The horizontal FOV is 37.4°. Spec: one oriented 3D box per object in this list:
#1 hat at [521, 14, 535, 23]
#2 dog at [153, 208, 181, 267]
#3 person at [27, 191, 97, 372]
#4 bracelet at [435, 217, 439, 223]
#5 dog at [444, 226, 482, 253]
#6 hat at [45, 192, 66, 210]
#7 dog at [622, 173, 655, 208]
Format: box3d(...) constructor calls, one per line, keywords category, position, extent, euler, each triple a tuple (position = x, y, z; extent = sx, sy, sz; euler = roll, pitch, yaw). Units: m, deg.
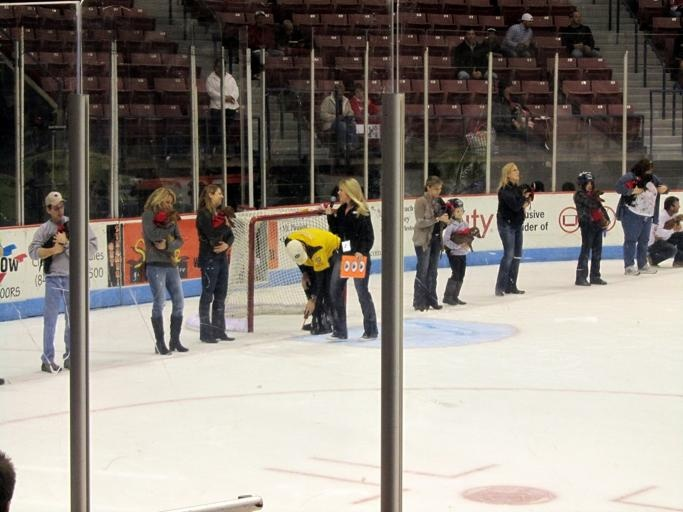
box3d(category="hat", position=(1.109, -1.437, 6.001), extent=(0.065, 0.037, 0.054), euler=(-7, 31, -8))
box3d(category="dog", position=(-0.750, -0.069, 4.324), extent=(0.066, 0.210, 0.147), euler=(6, 6, 33))
box3d(category="person", position=(-1.315, 0.135, 4.537), extent=(0.167, 0.853, 0.397), euler=(-2, 4, -17))
box3d(category="bracelet", position=(0.459, -0.176, 4.879), extent=(0.016, 0.025, 0.008), euler=(-3, 1, 6))
box3d(category="dog", position=(0.623, -0.081, 5.164), extent=(0.116, 0.064, 0.153), euler=(-1, 11, 23))
box3d(category="hat", position=(-1.276, -0.250, 4.458), extent=(0.093, 0.072, 0.038), euler=(2, 5, 25))
box3d(category="dog", position=(1.647, -0.384, 5.646), extent=(0.133, 0.188, 0.071), euler=(9, 19, -46))
